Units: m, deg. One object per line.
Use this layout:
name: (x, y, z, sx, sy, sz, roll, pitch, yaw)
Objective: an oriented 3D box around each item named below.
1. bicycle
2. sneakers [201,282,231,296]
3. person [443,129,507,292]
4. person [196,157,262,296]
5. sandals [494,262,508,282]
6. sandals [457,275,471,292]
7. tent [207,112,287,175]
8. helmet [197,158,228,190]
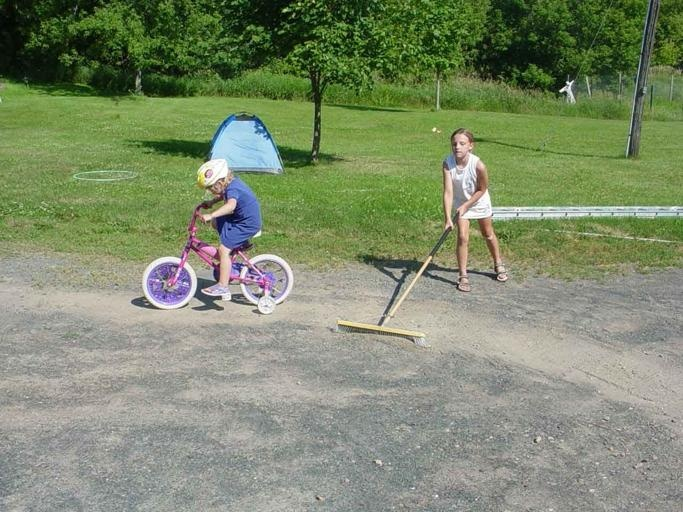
bicycle: (-1.706, 0.122, 10.300, 2.323, 1.454, 1.133, 3, -8, -14)
sneakers: (-1.645, 0.445, 10.120, 0.391, 0.198, 0.156, 7, -1, -13)
person: (1.903, -0.712, 11.183, 1.032, 2.269, 0.751, -6, 17, -22)
person: (-1.491, -0.330, 10.050, 0.914, 1.890, 0.515, -9, 19, -32)
sandals: (2.400, 0.235, 11.534, 0.138, 0.101, 0.374, -5, 29, 9)
sandals: (1.786, 0.385, 11.127, 0.217, 0.196, 0.294, 3, 16, 6)
tent: (-2.663, -3.320, 21.154, 2.377, 1.230, 2.950, -4, 26, -21)
helmet: (-1.663, -1.074, 9.783, 0.424, 0.151, 0.314, -37, 43, -14)
